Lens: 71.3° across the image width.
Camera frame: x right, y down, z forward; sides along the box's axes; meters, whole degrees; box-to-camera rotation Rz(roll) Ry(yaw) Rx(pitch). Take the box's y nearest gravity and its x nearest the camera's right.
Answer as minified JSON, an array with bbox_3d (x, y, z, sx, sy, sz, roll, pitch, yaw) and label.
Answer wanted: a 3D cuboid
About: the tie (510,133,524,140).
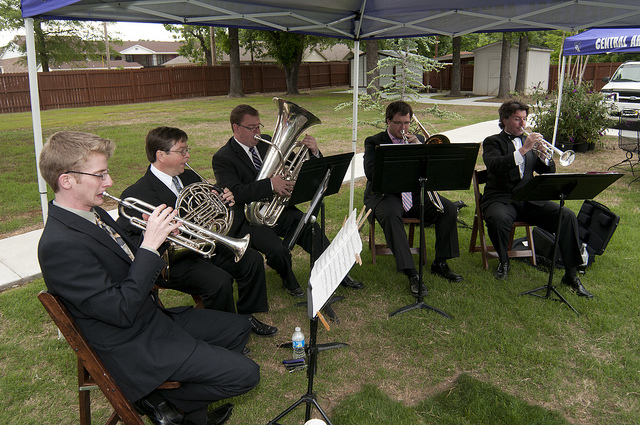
[{"bbox_3d":[2.610,-1.003,5.914,0.117,0.045,0.120,2,-6,14],"label":"tie"}]

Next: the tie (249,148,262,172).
[{"bbox_3d":[-0.781,-0.659,5.419,0.070,0.394,0.061,-5,-26,-14],"label":"tie"}]

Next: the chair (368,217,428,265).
[{"bbox_3d":[1.087,0.306,6.027,0.767,0.619,0.698,0,-2,8],"label":"chair"}]

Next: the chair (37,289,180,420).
[{"bbox_3d":[-1.732,1.208,3.545,0.891,1.386,0.397,8,22,27],"label":"chair"}]

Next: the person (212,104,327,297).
[{"bbox_3d":[-0.770,-0.296,5.539,1.408,2.303,1.096,15,-26,-34],"label":"person"}]

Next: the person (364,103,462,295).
[{"bbox_3d":[1.137,-0.187,5.403,1.195,2.151,1.296,0,20,6],"label":"person"}]

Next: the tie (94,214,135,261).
[{"bbox_3d":[-1.690,0.207,3.640,0.501,0.073,0.071,43,-2,15],"label":"tie"}]
